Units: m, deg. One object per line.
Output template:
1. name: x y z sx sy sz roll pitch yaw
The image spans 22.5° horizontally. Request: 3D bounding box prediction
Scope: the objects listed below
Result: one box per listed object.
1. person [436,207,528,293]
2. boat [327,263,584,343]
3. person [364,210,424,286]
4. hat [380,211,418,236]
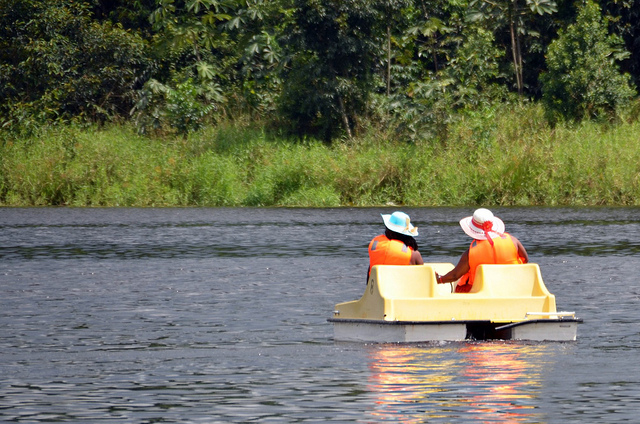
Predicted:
1. person: 3.425 0.854 34.153 1.364 1.478 0.867 -16 38 -7
2. boat: 3.416 2.019 32.054 3.206 1.887 5.722 1 -1 -8
3. person: 1.464 0.814 31.590 1.066 1.353 0.912 -2 22 -16
4. hat: 1.553 0.235 31.396 0.629 0.484 0.334 -4 4 2
